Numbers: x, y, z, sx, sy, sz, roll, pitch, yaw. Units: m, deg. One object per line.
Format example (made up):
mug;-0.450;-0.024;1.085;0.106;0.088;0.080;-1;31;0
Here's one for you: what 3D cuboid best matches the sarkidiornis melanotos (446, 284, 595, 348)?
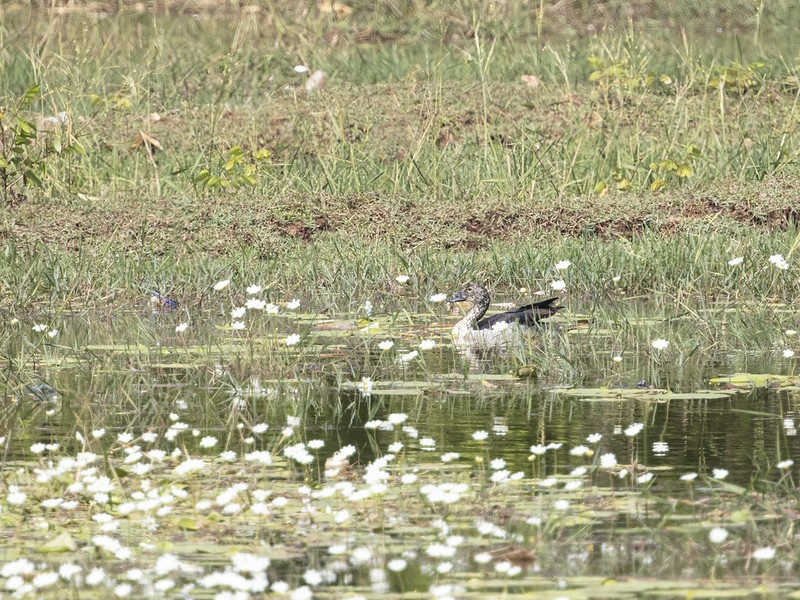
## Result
sarkidiornis melanotos;0.878;0.134;10.739;0.938;0.593;0.405;-3;3;29
